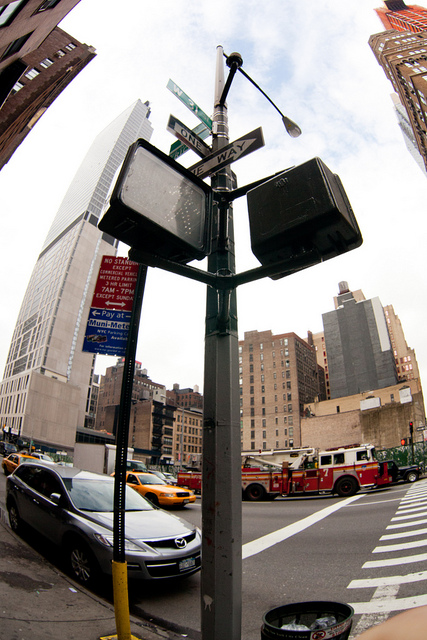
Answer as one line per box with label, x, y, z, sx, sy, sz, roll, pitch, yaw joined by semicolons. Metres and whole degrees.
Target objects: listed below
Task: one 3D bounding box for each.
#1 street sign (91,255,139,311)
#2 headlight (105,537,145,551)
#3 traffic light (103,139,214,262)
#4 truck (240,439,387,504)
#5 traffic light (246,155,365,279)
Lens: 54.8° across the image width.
street sign;-0.918;-0.341;3.925;0.391;0.556;0.039;5;-7;12
headlight;-1.073;2.685;4.962;0.402;0.149;0.283;-10;-24;23
traffic light;-0.330;-0.674;2.498;0.618;0.597;0.322;28;-41;-30
truck;4.310;7.089;19.196;6.640;2.471;4.915;-9;-23;20
traffic light;0.478;-0.619;2.507;0.589;0.578;0.304;-22;-38;26
